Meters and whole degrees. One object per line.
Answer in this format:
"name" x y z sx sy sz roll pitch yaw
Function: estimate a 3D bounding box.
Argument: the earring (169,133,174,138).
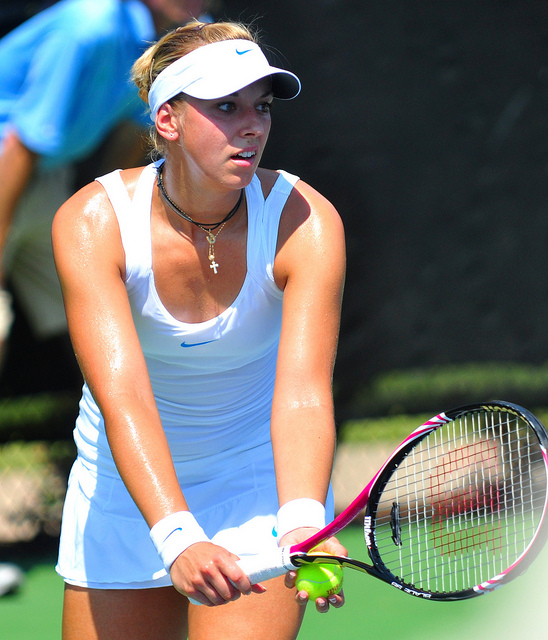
"earring" -0.244 -0.438 2.008 0.010 0.003 0.009 1 78 4

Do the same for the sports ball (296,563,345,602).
"sports ball" 0.107 0.558 1.835 0.090 0.088 0.085 15 56 -24
